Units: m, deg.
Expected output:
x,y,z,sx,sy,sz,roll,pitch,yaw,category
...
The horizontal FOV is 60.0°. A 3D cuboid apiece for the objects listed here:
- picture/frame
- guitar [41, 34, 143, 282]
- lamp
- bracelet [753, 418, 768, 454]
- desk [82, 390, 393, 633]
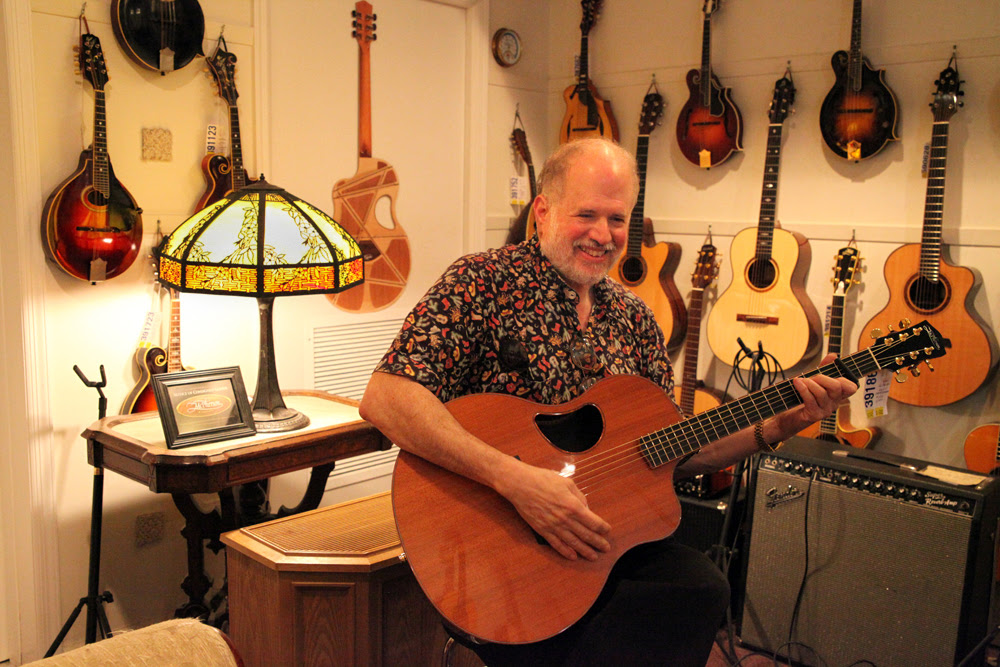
x,y,z,sx,sy,sz,roll,pitch,yaw,category
-1.238,0.314,3.559,0.300,0.301,0.022,-6,-24,-33,picture/frame
-1.811,-0.764,3.738,0.399,1.054,0.173,-6,12,-30,guitar
-0.960,-0.202,4.036,0.922,1.181,0.992,-1,13,-9,lamp
0.946,0.369,3.088,0.033,0.094,0.069,-2,-5,-3,bracelet
-1.195,0.888,3.909,0.846,0.939,1.235,3,2,36,desk
